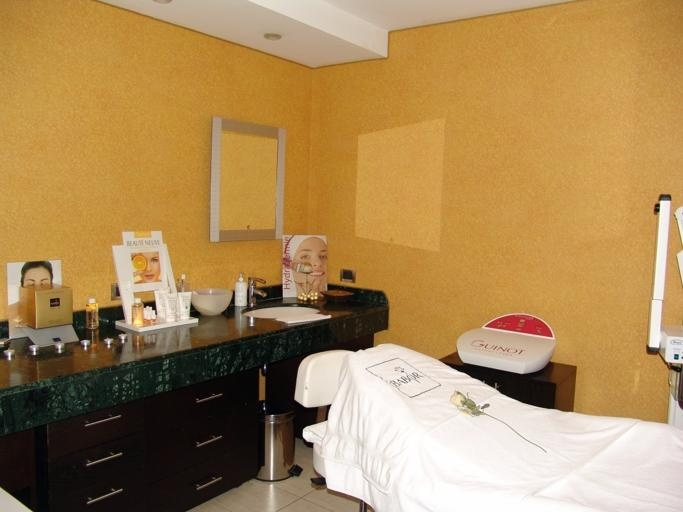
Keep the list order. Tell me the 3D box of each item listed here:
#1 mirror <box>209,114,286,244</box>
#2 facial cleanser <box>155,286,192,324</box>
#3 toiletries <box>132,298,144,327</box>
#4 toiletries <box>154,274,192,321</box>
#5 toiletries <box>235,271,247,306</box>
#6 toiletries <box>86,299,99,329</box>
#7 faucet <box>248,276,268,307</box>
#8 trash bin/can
[{"bbox_3d":[-0.645,-0.515,3.693,0.077,0.804,0.623,1,4,43],"label":"mirror"},{"bbox_3d":[-0.995,0.292,3.114,0.065,0.180,0.206,7,7,43],"label":"facial cleanser"},{"bbox_3d":[-1.137,0.314,2.959,0.063,0.148,0.069,-3,3,-22],"label":"toiletries"},{"bbox_3d":[-0.991,0.246,3.120,0.218,0.212,0.181,-5,10,-42],"label":"toiletries"},{"bbox_3d":[-0.708,0.232,3.713,0.097,0.235,0.208,-3,3,-11],"label":"toiletries"},{"bbox_3d":[-1.367,0.319,2.915,0.052,0.181,0.123,-4,4,-31],"label":"toiletries"},{"bbox_3d":[-0.606,0.243,3.782,0.119,0.189,0.311,-2,3,-7],"label":"faucet"},{"bbox_3d":[-0.399,1.180,3.421,0.406,0.425,0.294,0,1,30],"label":"trash bin/can"}]
